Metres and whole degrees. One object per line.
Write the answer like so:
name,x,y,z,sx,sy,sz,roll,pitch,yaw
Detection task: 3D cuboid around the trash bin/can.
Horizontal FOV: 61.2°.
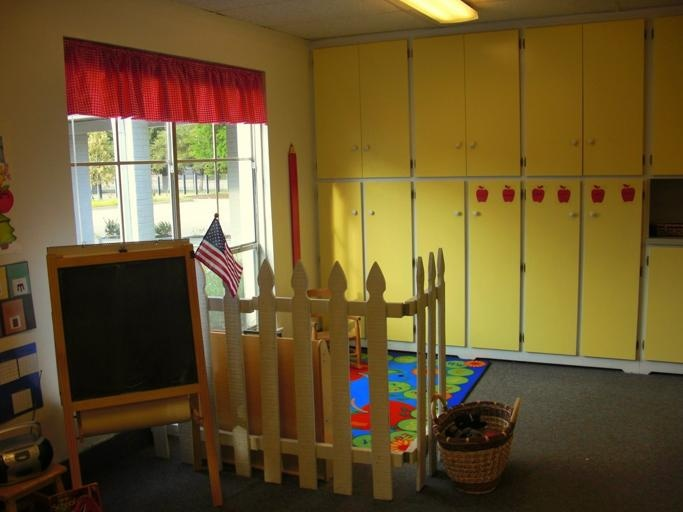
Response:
trash bin/can,0.877,1.245,3.889,0.528,0.558,0.632,-5,3,26

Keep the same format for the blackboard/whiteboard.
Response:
blackboard/whiteboard,-1.273,0.423,3.437,0.889,1.086,0.051,-6,3,-25

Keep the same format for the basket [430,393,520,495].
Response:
basket,0.892,1.221,3.846,0.544,0.563,0.637,-2,6,31
